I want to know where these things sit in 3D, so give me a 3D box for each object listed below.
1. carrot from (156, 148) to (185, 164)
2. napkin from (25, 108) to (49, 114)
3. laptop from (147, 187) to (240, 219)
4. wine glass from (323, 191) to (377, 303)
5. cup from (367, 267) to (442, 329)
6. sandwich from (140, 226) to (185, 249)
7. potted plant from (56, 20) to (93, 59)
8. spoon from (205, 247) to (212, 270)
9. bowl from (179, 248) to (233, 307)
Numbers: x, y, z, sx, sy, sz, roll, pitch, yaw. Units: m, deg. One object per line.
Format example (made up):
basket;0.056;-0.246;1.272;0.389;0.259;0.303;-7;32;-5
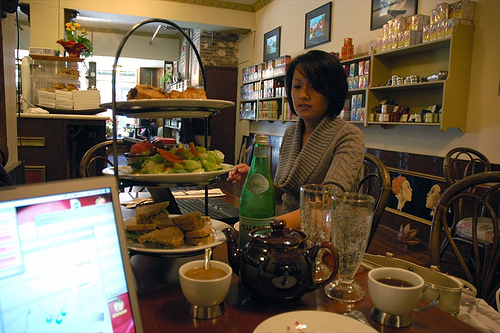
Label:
carrot;-0.244;-0.032;1.052;0.062;0.014;0.020;34;8;14
napkin;-2.161;-0.575;3.486;0.185;0.052;0.395;-6;13;-32
laptop;-0.237;0.186;1.624;0.308;0.014;0.398;2;-20;0
wine glass;0.292;0.219;0.991;0.115;0.287;0.281;7;13;28
cup;0.398;0.307;0.909;0.194;0.114;0.146;0;-4;2
sandwich;-0.252;0.190;1.000;0.118;0.115;0.028;5;49;-8
potted plant;-2.105;-1.488;4.040;0.330;0.346;0.385;7;22;17
spoon;-0.109;0.242;0.896;0.013;0.053;0.009;3;-3;14
bowl;-0.118;0.300;0.930;0.138;0.103;0.211;4;8;3
